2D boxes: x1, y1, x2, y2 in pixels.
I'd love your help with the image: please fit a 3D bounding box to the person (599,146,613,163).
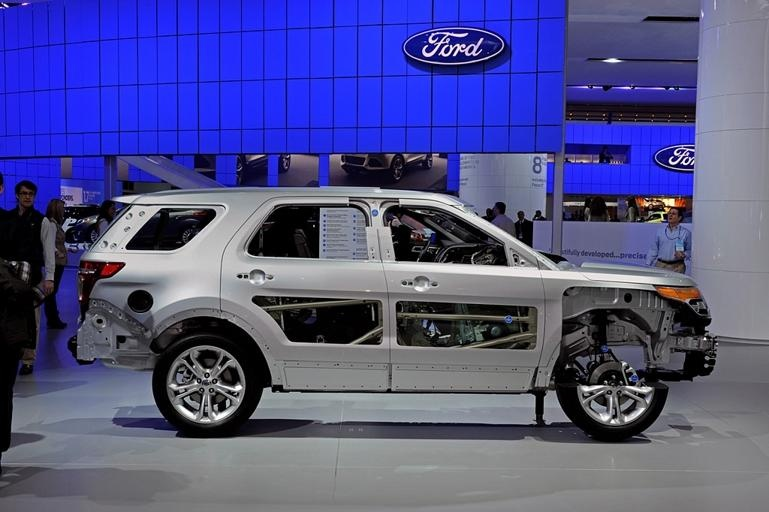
[{"bbox_3d":[16.534,-7.520,48.047,0.863,1.269,1.484,4,11,16],"label":"person"}]
